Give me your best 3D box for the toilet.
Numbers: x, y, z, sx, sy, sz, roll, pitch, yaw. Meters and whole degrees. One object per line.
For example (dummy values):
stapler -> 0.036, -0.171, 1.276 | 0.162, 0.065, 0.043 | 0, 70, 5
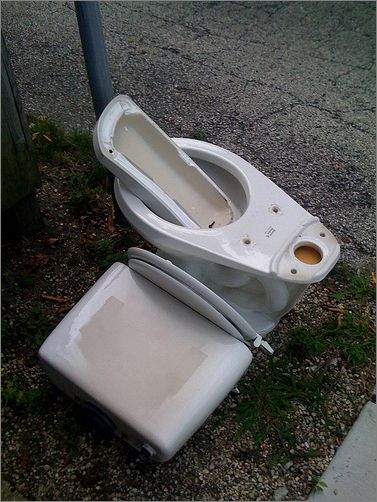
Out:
toilet -> 0.310, -0.095, 2.665 | 1.380, 0.779, 0.829 | 36, 69, 10
